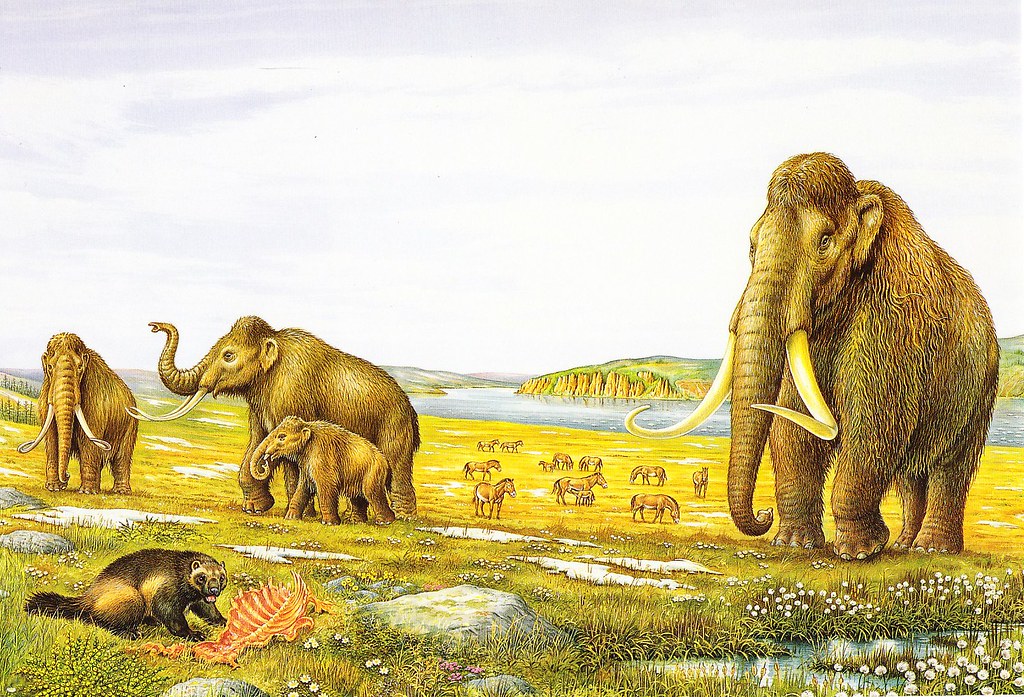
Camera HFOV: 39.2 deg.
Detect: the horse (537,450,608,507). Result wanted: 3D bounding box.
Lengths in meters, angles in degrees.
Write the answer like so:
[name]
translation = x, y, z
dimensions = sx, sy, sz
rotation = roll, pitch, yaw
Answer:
[horse]
translation = 0.476, 1.028, 11.295
dimensions = 0.534, 0.394, 0.162
rotation = 2, -3, -2
